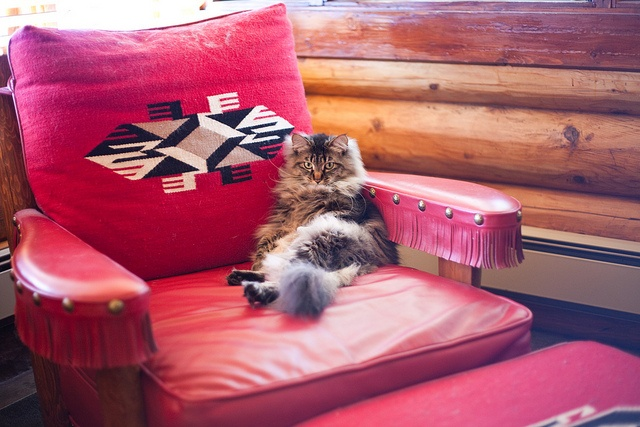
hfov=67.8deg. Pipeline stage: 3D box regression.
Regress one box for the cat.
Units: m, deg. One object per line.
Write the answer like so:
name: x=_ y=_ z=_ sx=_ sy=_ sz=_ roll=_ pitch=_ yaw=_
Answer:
cat: x=0.009 y=-0.004 z=1.873 sx=0.628 sy=0.553 sz=0.792 roll=8 pitch=28 yaw=5
